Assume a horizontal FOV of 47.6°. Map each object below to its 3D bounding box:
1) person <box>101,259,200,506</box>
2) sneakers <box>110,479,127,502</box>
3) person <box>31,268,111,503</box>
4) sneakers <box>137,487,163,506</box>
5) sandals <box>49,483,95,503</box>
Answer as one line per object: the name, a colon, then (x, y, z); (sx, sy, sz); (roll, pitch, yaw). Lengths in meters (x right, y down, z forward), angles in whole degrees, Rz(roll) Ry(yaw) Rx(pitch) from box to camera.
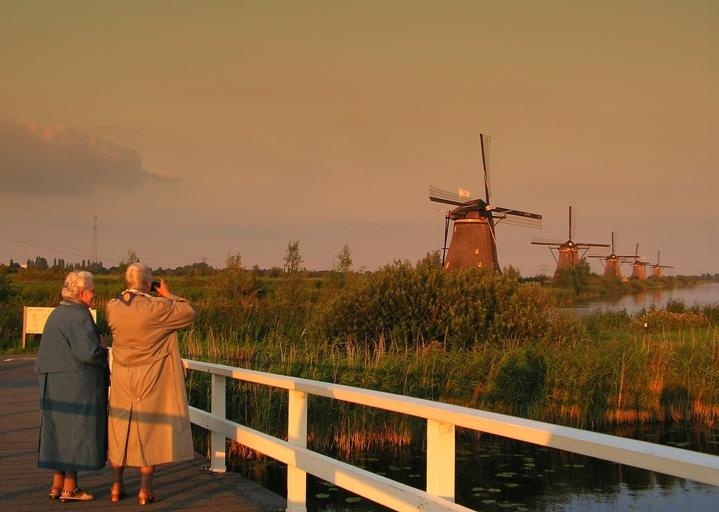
person: (-2.458, 1.493, 9.652); (1.041, 2.842, 0.427); (-1, -1, -5)
sneakers: (-2.870, 2.808, 9.767); (0.125, 0.147, 0.297); (1, -3, -10)
person: (-3.363, 1.338, 9.615); (0.788, 2.327, 0.357); (-1, -1, -17)
sneakers: (-2.489, 2.840, 9.701); (0.127, 0.144, 0.263); (0, -4, 12)
sandals: (-3.419, 2.821, 9.729); (0.386, 0.119, 0.215); (1, -7, -8)
